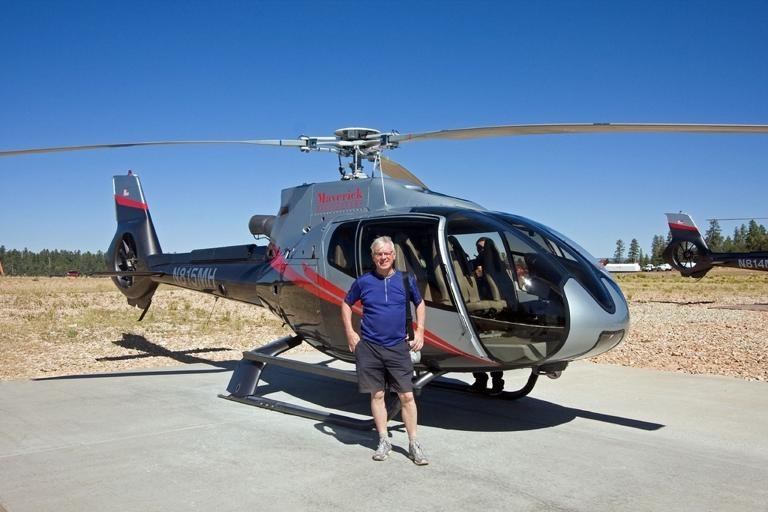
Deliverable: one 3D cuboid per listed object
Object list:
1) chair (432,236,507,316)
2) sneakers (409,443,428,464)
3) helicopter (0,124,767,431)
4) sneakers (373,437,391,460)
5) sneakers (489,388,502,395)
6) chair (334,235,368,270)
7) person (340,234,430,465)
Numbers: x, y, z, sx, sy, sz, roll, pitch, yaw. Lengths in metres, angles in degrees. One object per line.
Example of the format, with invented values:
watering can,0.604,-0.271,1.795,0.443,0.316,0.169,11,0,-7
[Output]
chair,1.087,0.203,6.276,0.497,0.883,0.523,0,1,-20
sneakers,0.359,2.074,5.611,0.200,0.237,0.144,0,1,1
helicopter,-0.401,0.117,7.710,6.634,1.637,6.090,1,4,36
sneakers,-0.045,2.076,5.666,0.146,0.100,0.295,-2,-9,14
sneakers,1.618,1.978,7.769,0.121,0.067,0.138,3,-4,-36
chair,-0.545,-0.005,6.873,0.544,0.492,0.413,0,-6,-19
person,0.004,0.996,5.676,0.895,2.386,0.341,0,1,-1
